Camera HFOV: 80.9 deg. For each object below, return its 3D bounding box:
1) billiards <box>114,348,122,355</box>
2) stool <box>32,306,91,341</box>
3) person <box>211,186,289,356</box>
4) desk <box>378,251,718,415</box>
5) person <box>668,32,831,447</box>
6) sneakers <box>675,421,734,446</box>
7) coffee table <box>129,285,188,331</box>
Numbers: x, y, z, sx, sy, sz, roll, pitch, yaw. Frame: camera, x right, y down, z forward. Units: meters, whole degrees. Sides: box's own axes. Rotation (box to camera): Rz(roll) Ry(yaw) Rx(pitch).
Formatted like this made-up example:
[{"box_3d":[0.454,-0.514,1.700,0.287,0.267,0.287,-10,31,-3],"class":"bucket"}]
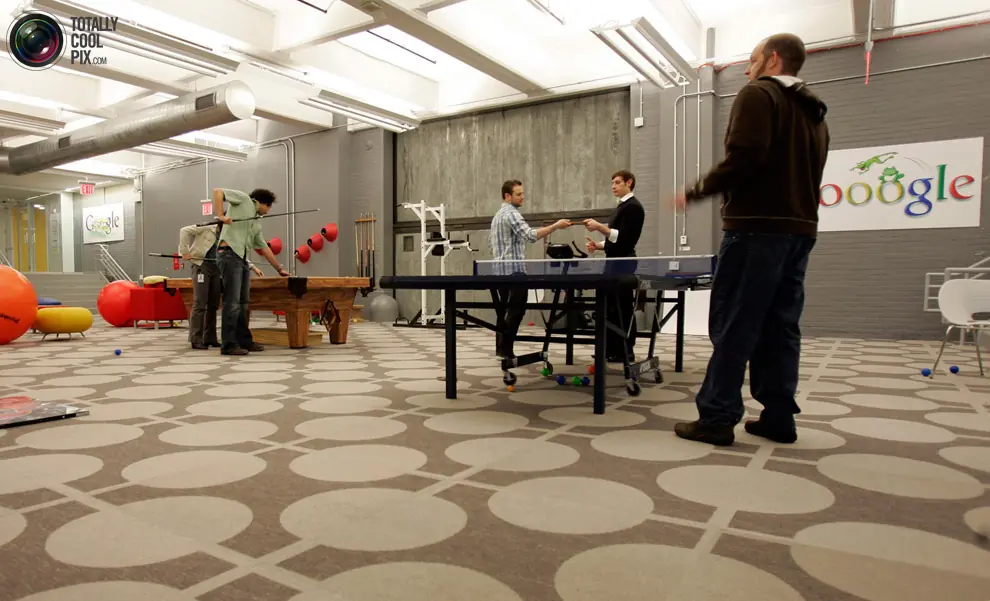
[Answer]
[{"box_3d":[-4.475,0.590,6.782,0.046,0.043,0.050,10,7,3],"class":"billiards"},{"box_3d":[-6.501,0.302,8.609,0.644,0.349,0.610,1,-1,-26],"class":"stool"},{"box_3d":[-2.972,-0.327,6.737,0.663,1.889,0.916,2,15,7],"class":"person"},{"box_3d":[0.540,0.177,4.705,1.976,1.143,2.040,9,16,31],"class":"desk"},{"box_3d":[1.571,-0.361,3.497,0.773,2.430,0.897,8,17,26],"class":"person"},{"box_3d":[1.267,0.790,3.543,0.343,0.132,0.125,9,2,31],"class":"sneakers"},{"box_3d":[-6.070,0.090,10.477,1.157,0.869,1.085,0,-2,-16],"class":"coffee table"}]
